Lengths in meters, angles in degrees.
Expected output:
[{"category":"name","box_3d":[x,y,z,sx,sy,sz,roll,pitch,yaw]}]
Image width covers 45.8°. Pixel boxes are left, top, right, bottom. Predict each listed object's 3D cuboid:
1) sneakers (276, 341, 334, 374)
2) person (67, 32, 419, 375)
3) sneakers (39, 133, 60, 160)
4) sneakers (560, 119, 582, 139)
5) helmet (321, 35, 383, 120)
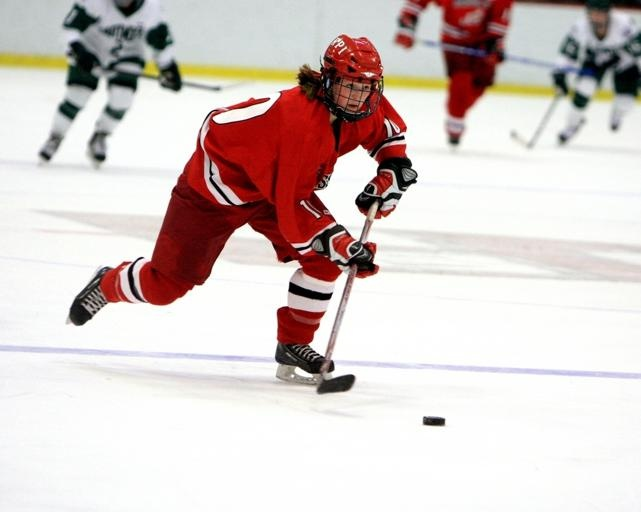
[{"category":"sneakers","box_3d":[-0.069,0.326,2.464,0.236,0.076,0.077,2,8,37]},{"category":"person","box_3d":[-0.225,-0.164,2.479,0.943,1.142,0.405,15,19,7]},{"category":"sneakers","box_3d":[-1.846,-0.732,5.164,0.119,0.200,0.136,13,18,-3]},{"category":"sneakers","box_3d":[2.263,-1.133,6.818,0.217,0.049,0.119,-25,5,2]},{"category":"helmet","box_3d":[0.095,-0.524,2.266,0.186,0.239,0.148,14,18,5]}]
